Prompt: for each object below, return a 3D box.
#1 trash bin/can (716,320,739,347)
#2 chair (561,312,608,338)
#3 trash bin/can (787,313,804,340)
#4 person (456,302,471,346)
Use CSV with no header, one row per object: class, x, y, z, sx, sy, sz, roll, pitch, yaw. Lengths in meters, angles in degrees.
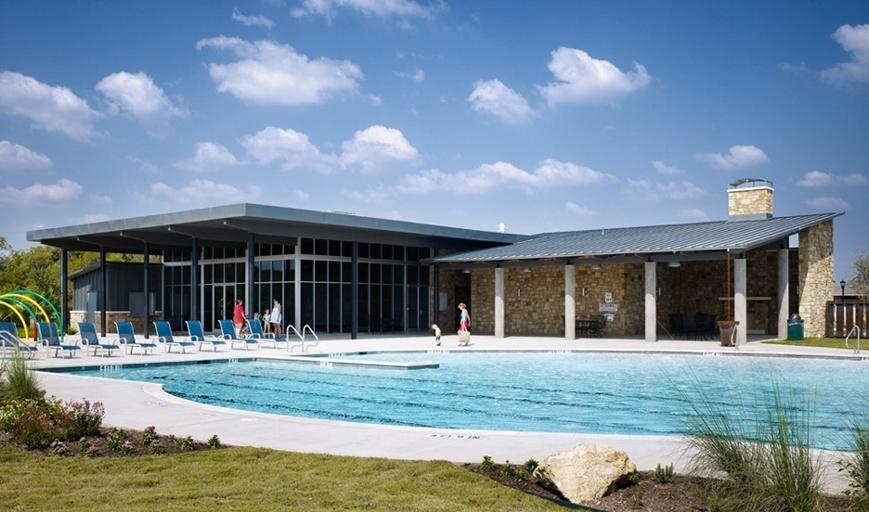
trash bin/can,12.497,3.384,29.285,1.127,1.267,1.080,-4,-7,35
chair,7.883,3.530,33.910,1.491,1.199,1.730,-3,-7,15
trash bin/can,16.661,3.279,30.964,0.662,1.208,0.781,-4,-7,25
person,1.346,3.136,30.811,0.697,1.877,0.563,-3,-3,1
